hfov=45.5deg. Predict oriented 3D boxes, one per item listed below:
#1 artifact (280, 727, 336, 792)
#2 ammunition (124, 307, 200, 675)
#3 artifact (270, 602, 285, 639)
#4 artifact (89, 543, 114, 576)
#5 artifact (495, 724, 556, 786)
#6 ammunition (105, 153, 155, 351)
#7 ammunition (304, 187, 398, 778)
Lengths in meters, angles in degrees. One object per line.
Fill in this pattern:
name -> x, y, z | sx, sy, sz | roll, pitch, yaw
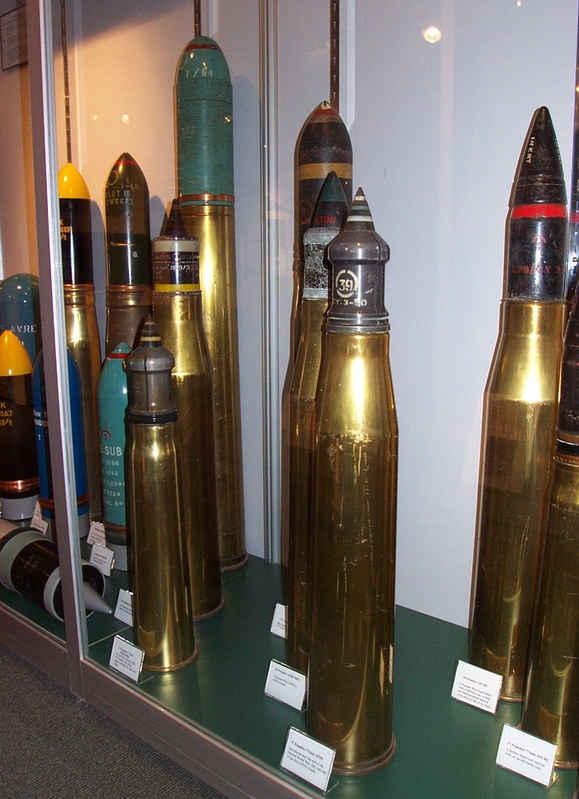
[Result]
artifact -> 0.027, 0.468, 0.897 | 0.027, 0.069, 0.083 | 21, -5, -41
ammunition -> -0.218, 0.162, 1.158 | 0.106, 0.587, 0.119 | -5, 12, -20
artifact -> -0.018, 0.384, 1.201 | 0.009, 0.043, 0.038 | 15, -15, -25
artifact -> -0.401, 0.340, 1.477 | 0.048, 0.011, 0.050 | 39, 27, -21
artifact -> 0.300, 0.444, 0.862 | 0.062, 0.063, 0.023 | 11, 6, 42
ammunition -> -0.386, -0.310, 1.661 | 0.107, 0.562, 0.121 | 0, 5, 7
ammunition -> 0.088, 0.116, 0.848 | 0.127, 0.721, 0.125 | -1, 11, -4
